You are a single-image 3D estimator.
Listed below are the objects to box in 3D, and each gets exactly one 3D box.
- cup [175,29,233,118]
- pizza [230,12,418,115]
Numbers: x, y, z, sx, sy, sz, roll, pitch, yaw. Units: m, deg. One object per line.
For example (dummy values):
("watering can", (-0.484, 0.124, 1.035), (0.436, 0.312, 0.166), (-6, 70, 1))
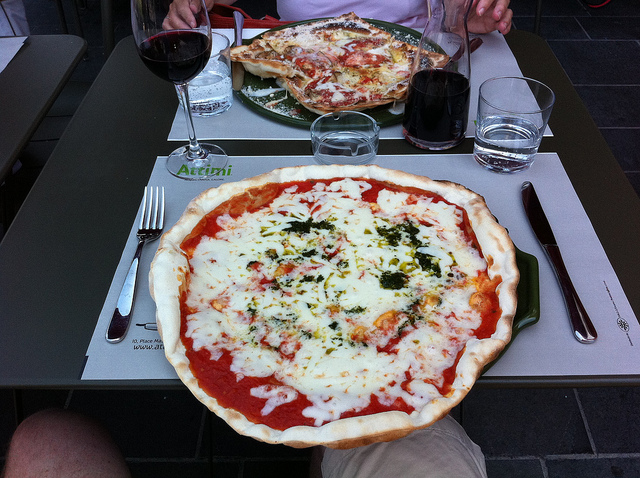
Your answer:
("cup", (-0.319, -0.436, 1.303), (0.153, 0.179, 0.167), (3, 34, -2))
("pizza", (-0.004, -0.552, 1.437), (0.627, 0.281, 0.410), (-5, 34, -9))
